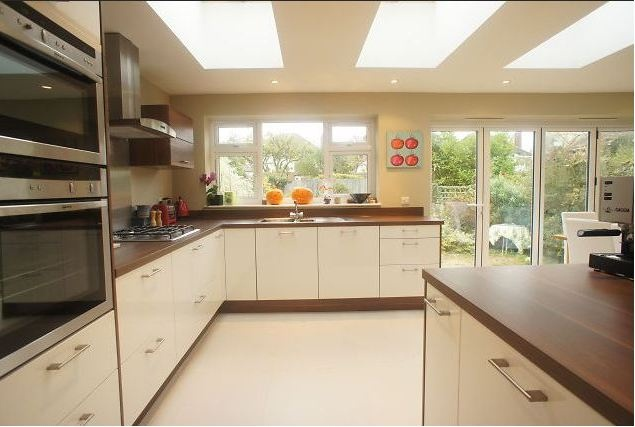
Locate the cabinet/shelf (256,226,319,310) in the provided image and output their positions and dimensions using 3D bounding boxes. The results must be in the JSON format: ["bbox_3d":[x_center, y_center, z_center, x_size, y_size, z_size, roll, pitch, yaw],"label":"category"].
[{"bbox_3d":[-0.244,0.517,4.378,0.654,0.798,0.761,0,2,0],"label":"cabinet/shelf"}]

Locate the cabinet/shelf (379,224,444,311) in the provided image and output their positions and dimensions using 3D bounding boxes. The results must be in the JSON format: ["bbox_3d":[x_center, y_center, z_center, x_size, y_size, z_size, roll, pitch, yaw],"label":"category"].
[{"bbox_3d":[0.874,0.445,4.325,0.714,0.812,0.514,-1,12,2],"label":"cabinet/shelf"}]

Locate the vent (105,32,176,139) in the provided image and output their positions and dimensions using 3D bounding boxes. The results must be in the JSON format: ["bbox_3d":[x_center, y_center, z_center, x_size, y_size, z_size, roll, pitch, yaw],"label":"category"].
[{"bbox_3d":[-1.519,-1.035,3.505,0.492,0.782,0.505,1,5,7],"label":"vent"}]

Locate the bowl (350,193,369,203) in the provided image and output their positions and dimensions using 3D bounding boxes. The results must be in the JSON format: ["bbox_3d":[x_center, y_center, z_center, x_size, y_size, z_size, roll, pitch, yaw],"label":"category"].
[{"bbox_3d":[0.480,-0.178,4.837,0.215,0.117,0.187,0,4,4],"label":"bowl"}]

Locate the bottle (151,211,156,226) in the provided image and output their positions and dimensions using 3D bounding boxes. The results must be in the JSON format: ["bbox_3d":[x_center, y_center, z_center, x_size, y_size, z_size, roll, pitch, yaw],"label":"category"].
[{"bbox_3d":[-1.422,0.040,3.661,0.038,0.125,0.114,-2,5,-21],"label":"bottle"}]

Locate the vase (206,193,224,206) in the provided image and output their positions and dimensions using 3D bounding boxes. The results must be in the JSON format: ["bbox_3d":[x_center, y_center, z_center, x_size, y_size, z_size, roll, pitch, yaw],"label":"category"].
[{"bbox_3d":[-1.131,-0.152,4.677,0.137,0.095,0.138,2,1,36],"label":"vase"}]

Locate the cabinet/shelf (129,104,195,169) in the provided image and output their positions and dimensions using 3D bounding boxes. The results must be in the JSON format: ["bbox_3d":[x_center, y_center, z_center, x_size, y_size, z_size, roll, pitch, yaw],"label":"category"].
[{"bbox_3d":[-1.543,-0.702,4.213,0.472,0.552,0.857,-2,6,-2],"label":"cabinet/shelf"}]

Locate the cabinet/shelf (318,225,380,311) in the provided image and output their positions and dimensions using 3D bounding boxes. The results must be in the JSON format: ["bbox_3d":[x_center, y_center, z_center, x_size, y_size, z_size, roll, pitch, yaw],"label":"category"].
[{"bbox_3d":[0.303,0.524,4.137,0.741,0.781,0.649,0,-1,-1],"label":"cabinet/shelf"}]

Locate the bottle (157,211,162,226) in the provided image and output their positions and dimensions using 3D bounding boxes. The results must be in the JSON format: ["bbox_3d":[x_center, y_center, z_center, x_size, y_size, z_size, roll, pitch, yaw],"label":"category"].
[{"bbox_3d":[-1.398,0.037,3.719,0.044,0.130,0.191,-2,5,-21],"label":"bottle"}]

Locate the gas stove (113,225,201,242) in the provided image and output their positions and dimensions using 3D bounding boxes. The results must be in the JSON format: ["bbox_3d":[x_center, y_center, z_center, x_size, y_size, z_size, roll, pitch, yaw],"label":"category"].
[{"bbox_3d":[-1.295,0.149,3.355,0.592,0.080,0.499,0,4,4],"label":"gas stove"}]
